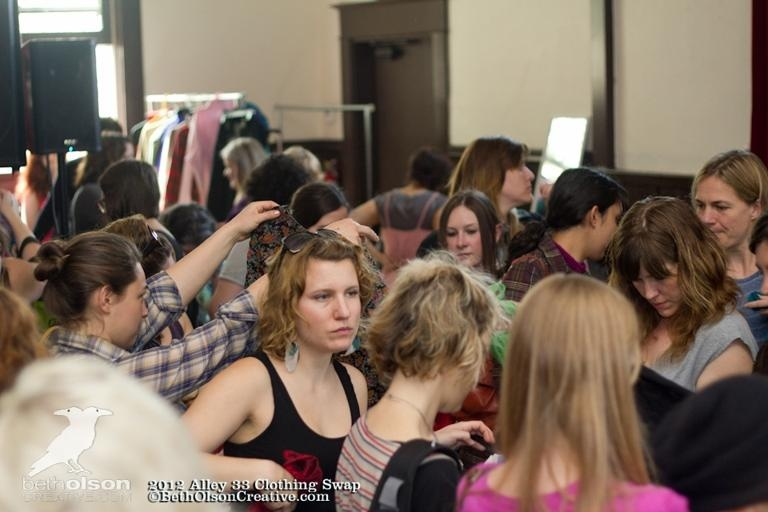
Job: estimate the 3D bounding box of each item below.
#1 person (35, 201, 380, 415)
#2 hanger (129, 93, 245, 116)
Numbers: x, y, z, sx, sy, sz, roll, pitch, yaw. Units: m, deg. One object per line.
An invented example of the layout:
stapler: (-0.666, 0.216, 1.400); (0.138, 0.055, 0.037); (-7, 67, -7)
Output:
person: (-0.651, 0.254, 2.561); (0.521, 0.796, 1.325); (27, 26, 37)
hanger: (-1.828, -1.402, 6.300); (0.584, 0.214, 1.084); (-12, 19, -43)
